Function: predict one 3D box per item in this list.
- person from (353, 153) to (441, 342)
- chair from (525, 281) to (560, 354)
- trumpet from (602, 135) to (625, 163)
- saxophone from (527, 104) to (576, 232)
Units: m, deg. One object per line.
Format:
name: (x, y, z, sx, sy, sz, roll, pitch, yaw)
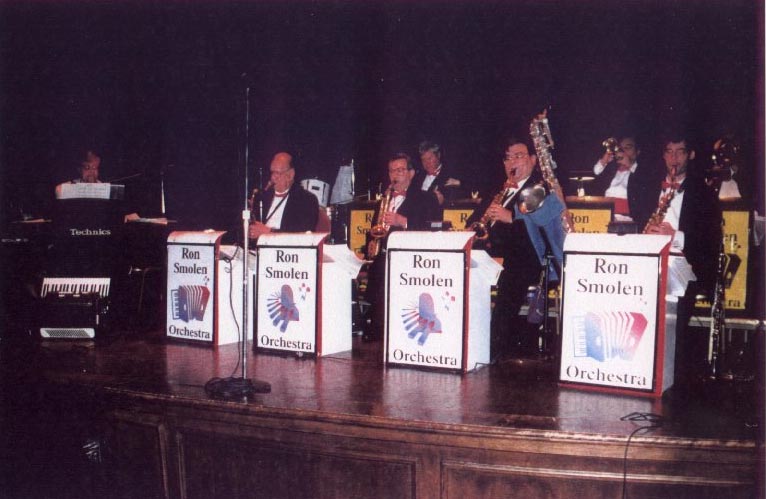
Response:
person: (0.063, -0.247, 9.756, 1.523, 2.487, 0.582, 0, -1, 22)
chair: (1.443, 0.647, 7.934, 0.282, 0.658, 0.952, 1, -5, 9)
trumpet: (2.638, -1.138, 9.973, 0.200, 0.303, 0.070, 10, 21, 38)
saxophone: (1.711, -0.714, 8.926, 0.414, 1.395, 0.436, 8, 23, 20)
